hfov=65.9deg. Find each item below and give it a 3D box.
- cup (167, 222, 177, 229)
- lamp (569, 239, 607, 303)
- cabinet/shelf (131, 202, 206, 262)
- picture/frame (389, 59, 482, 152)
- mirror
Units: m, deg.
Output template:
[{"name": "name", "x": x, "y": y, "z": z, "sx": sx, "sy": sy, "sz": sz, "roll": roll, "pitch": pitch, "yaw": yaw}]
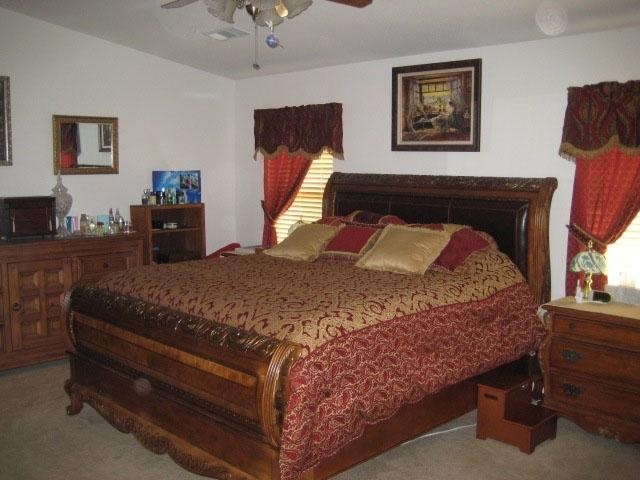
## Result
[{"name": "cup", "x": -1.992, "y": -0.197, "z": 6.727, "sx": 0.092, "sy": 0.062, "sz": 0.098, "roll": 1, "pitch": 0, "yaw": 0}, {"name": "lamp", "x": 2.280, "y": 0.252, "z": 4.191, "sx": 0.255, "sy": 0.473, "sz": 0.242, "roll": 3, "pitch": 2, "yaw": 38}, {"name": "cabinet/shelf", "x": -2.045, "y": -0.129, "z": 6.647, "sx": 0.282, "sy": 0.889, "sz": 0.688, "roll": 5, "pitch": 8, "yaw": 41}, {"name": "picture/frame", "x": 1.276, "y": -1.462, "z": 5.285, "sx": 0.952, "sy": 0.996, "sz": 0.082, "roll": 5, "pitch": 6, "yaw": 40}, {"name": "mirror", "x": -2.928, "y": -1.191, "z": 6.105, "sx": 0.698, "sy": 0.736, "sz": 0.050, "roll": -2, "pitch": 4, "yaw": -42}]
